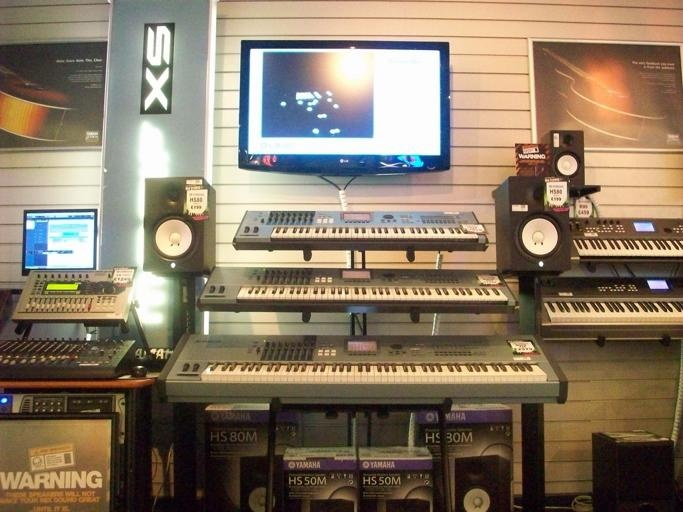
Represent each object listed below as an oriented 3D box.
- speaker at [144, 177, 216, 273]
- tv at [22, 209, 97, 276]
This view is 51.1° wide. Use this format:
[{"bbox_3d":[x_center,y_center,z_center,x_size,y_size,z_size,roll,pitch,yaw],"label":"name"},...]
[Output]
[{"bbox_3d":[-1.007,-0.169,4.450,0.389,0.591,0.313,-1,-11,1],"label":"speaker"},{"bbox_3d":[-1.881,-0.082,4.770,0.483,0.374,0.047,-1,-6,1],"label":"tv"}]
